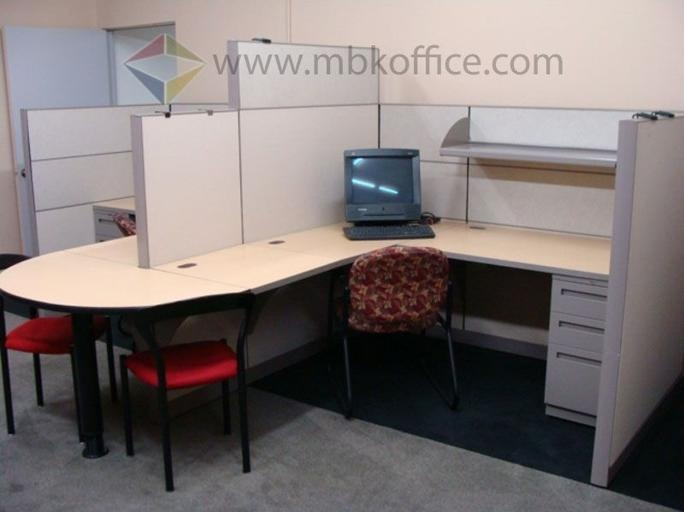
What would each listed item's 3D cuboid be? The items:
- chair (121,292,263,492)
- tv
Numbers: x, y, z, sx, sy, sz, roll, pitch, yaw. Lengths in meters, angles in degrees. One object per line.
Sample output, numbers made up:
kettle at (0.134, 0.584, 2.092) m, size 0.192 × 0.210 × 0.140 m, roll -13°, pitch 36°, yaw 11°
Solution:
chair at (-0.770, 0.697, 2.841) m, size 0.623 × 1.008 × 0.671 m, roll -8°, pitch 18°, yaw -35°
tv at (0.205, -0.475, 3.877) m, size 0.675 × 0.658 × 0.411 m, roll -1°, pitch 2°, yaw -3°
